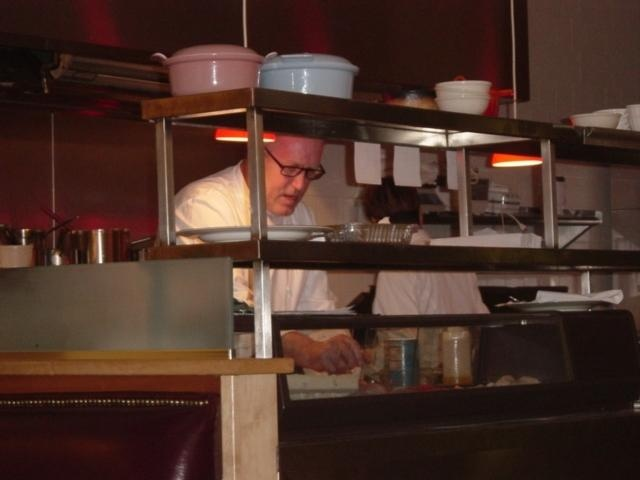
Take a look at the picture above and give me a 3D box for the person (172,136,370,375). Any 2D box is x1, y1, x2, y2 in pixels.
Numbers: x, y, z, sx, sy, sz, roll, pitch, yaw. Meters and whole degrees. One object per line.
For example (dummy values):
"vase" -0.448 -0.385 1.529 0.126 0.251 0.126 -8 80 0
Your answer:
"person" -0.153 0.115 3.277 0.575 1.074 0.722 3 -1 -45

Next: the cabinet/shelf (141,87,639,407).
"cabinet/shelf" 0.224 -0.075 2.693 1.463 0.680 0.382 -2 10 -26

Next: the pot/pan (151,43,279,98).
"pot/pan" -0.296 -0.449 2.446 0.265 0.139 0.131 5 9 15

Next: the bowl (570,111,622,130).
"bowl" 0.867 -0.375 2.885 0.092 0.036 0.084 -6 1 0

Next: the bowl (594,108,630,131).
"bowl" 0.939 -0.399 2.973 0.122 0.046 0.090 -1 1 25

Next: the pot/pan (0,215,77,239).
"pot/pan" -1.328 -0.056 4.302 0.293 0.101 0.135 -2 -5 4

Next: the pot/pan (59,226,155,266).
"pot/pan" -0.936 0.026 3.978 0.465 0.176 0.262 -1 -2 9

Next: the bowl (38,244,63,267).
"bowl" -1.186 0.068 4.039 0.094 0.099 0.092 -2 -2 0

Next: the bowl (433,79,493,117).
"bowl" 0.426 -0.408 2.700 0.124 0.073 0.124 2 7 0
